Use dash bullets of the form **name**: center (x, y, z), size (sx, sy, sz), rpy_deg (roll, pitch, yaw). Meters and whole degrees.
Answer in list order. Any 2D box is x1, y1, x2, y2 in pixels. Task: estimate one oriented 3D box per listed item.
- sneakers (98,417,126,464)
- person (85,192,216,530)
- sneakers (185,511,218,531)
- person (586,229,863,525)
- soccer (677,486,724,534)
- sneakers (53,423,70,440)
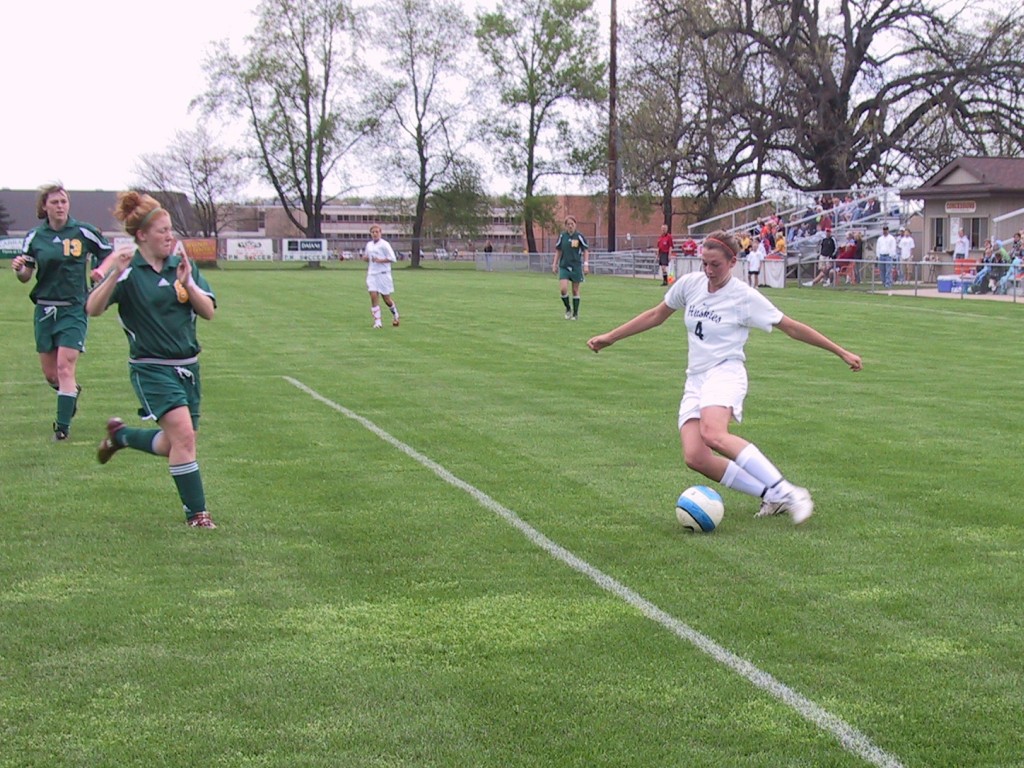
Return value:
- **sneakers**: center (-3.335, 0.495, 7.867), size (0.144, 0.421, 0.193), rpy_deg (45, 27, 25)
- **person**: center (-2.602, -0.225, 6.917), size (0.878, 2.358, 1.284), rpy_deg (-4, 10, -23)
- **sneakers**: center (-2.191, 0.972, 6.651), size (0.107, 0.090, 0.201), rpy_deg (-3, 2, -35)
- **person**: center (1.587, -0.078, 7.015), size (1.381, 2.095, 0.763), rpy_deg (4, 10, 24)
- **soccer**: center (1.319, 0.869, 6.648), size (0.301, 0.318, 0.305), rpy_deg (-8, -3, -12)
- **sneakers**: center (-4.464, 0.489, 9.292), size (0.110, 0.179, 0.170), rpy_deg (-16, 13, -27)
